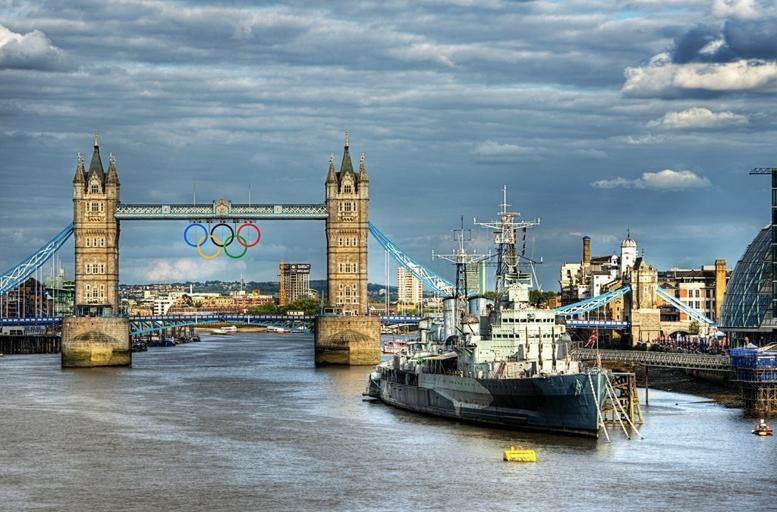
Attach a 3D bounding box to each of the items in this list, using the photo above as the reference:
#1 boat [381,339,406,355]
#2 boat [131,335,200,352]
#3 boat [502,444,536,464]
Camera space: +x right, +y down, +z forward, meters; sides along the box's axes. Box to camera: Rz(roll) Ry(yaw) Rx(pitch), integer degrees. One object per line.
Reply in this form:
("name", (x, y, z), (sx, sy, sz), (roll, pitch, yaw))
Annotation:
("boat", (0.483, 14.800, 268.670), (3.883, 1.807, 5.116), (1, 0, 4))
("boat", (-43.404, 16.733, 318.857), (3.131, 2.223, 19.673), (1, 4, 9))
("boat", (12.506, 18.998, 158.783), (3.211, 1.010, 1.557), (0, 10, 6))
